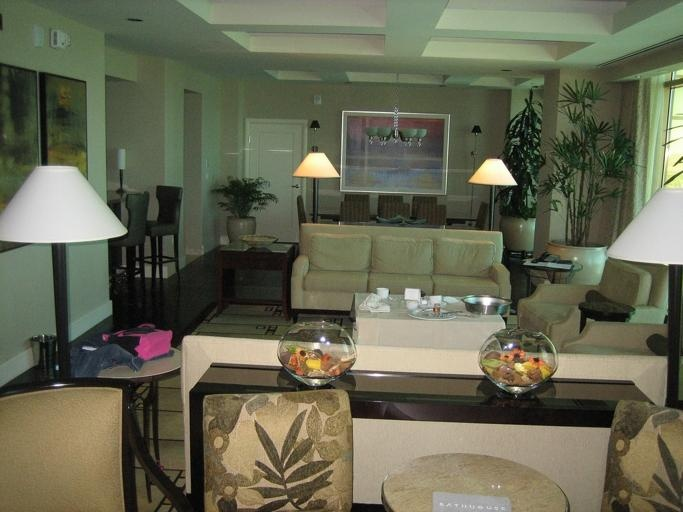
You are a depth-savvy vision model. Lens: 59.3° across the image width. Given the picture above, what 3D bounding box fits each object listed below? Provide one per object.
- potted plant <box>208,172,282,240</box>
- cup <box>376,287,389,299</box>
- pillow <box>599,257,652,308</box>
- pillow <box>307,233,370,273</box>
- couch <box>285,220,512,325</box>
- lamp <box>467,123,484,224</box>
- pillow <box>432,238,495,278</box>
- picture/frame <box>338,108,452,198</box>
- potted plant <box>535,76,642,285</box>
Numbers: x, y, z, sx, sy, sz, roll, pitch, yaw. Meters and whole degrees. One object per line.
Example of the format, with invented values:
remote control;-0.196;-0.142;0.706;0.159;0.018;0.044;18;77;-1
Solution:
potted plant;-1.633;-0.801;9.925;0.745;0.998;0.917;8;12;32
cup;0.360;0.329;5.305;0.102;0.073;0.075;2;3;-5
pillow;2.370;0.237;5.071;0.168;0.300;0.627;13;9;-3
pillow;0.063;-0.062;6.603;0.742;0.448;0.249;-1;-14;-26
couch;0.629;0.162;6.453;2.256;0.852;0.814;2;10;2
lamp;2.177;-1.678;9.792;0.167;0.873;0.175;-1;-12;38
pillow;1.335;0.012;6.510;0.674;0.430;0.237;1;18;6
picture/frame;0.905;-1.596;9.530;1.618;1.154;0.063;2;-5;-1
potted plant;2.908;-0.888;7.297;1.121;2.571;1.048;4;1;43
